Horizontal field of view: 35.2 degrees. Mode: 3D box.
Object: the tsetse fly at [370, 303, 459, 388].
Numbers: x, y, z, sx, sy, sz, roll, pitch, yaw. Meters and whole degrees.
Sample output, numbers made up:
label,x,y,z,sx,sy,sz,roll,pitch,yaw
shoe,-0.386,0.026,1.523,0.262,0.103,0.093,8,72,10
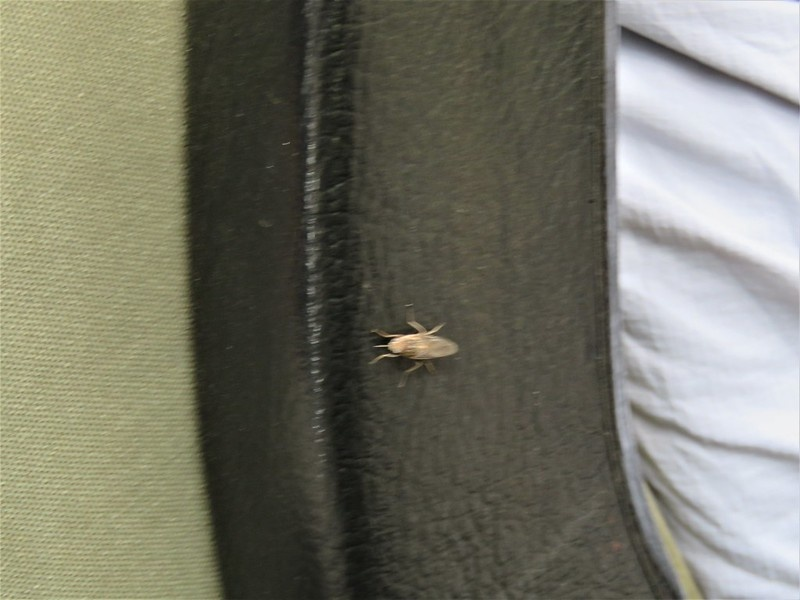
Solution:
label,x,y,z,sx,sy,sz,roll,pitch,yaw
tsetse fly,0.034,0.194,5.234,0.300,0.115,0.339,40,70,11
